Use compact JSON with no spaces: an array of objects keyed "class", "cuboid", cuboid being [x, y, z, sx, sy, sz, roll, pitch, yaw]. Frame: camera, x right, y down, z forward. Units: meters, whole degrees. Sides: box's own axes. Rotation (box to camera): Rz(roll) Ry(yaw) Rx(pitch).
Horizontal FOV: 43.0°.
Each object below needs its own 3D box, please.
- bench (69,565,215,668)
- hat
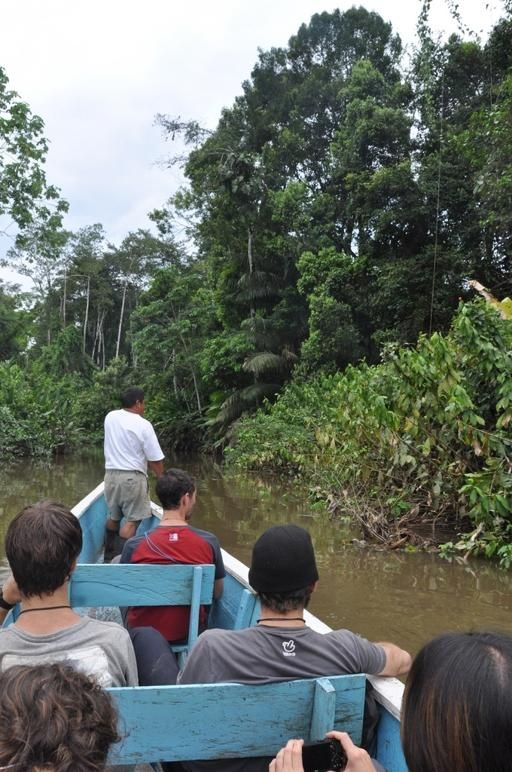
[{"class":"bench","cuboid":[-0.509,0.985,2.796,0.638,0.415,0.260,1,-7,-7]},{"class":"hat","cuboid":[0.079,0.487,1.860,0.144,0.111,0.211,-1,2,1]}]
